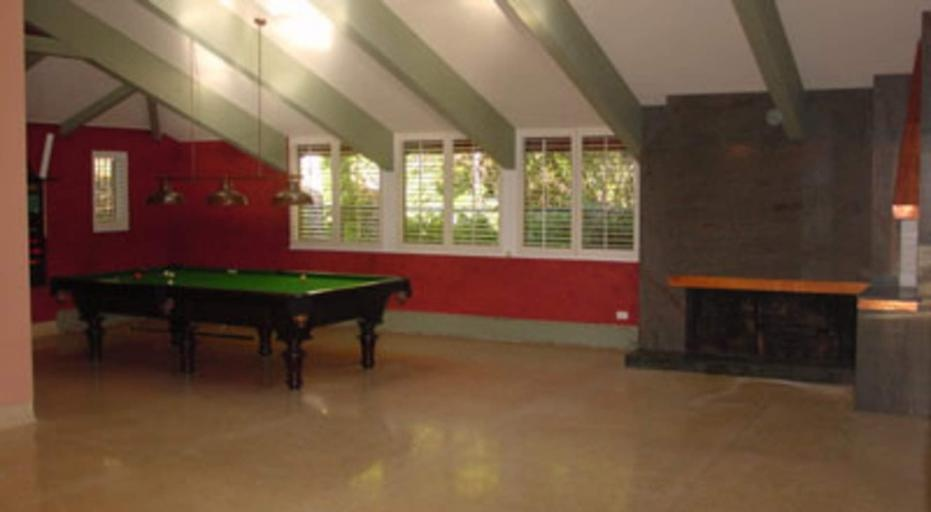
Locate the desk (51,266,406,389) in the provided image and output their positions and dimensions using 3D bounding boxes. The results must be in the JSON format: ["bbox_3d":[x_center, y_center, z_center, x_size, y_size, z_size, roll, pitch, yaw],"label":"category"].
[{"bbox_3d":[-3.187,0.833,9.048,4.555,1.290,1.779,4,13,19],"label":"desk"}]
